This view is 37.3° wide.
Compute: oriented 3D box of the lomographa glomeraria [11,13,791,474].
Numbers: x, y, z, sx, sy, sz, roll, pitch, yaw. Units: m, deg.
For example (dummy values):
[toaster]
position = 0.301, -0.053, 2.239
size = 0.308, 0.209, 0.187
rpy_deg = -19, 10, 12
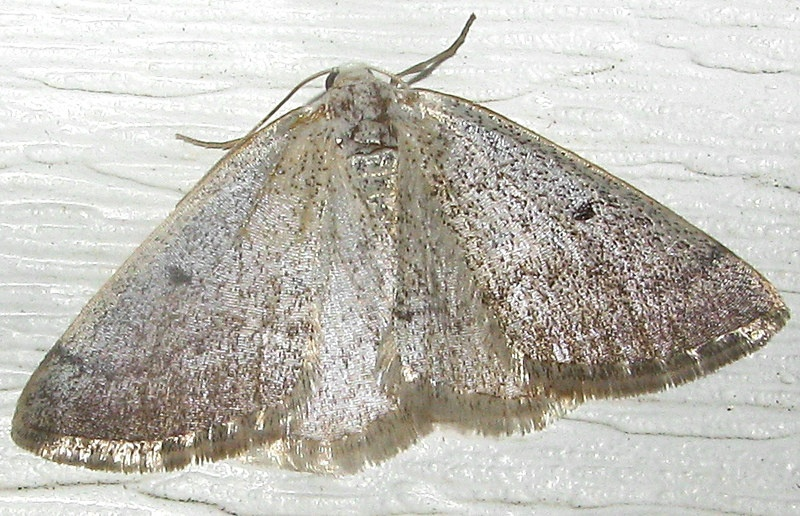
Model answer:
[lomographa glomeraria]
position = -0.264, -0.279, 6.478
size = 3.556, 1.722, 3.521
rpy_deg = 3, 24, 0
